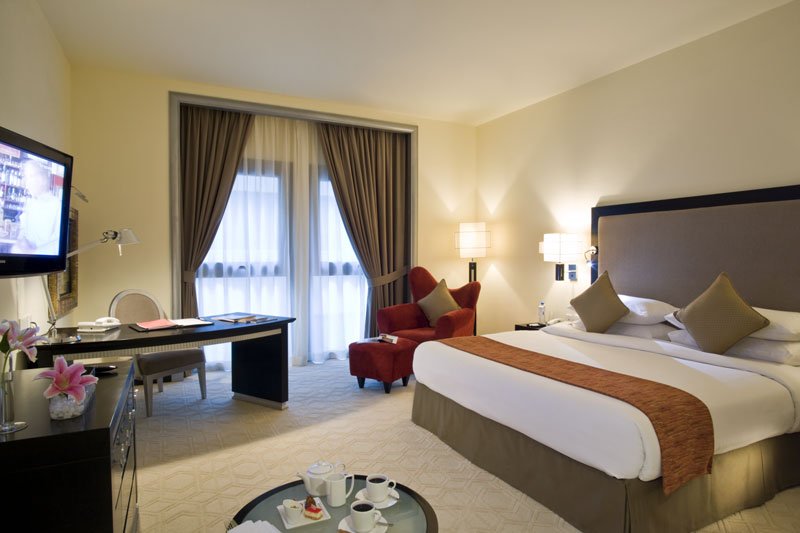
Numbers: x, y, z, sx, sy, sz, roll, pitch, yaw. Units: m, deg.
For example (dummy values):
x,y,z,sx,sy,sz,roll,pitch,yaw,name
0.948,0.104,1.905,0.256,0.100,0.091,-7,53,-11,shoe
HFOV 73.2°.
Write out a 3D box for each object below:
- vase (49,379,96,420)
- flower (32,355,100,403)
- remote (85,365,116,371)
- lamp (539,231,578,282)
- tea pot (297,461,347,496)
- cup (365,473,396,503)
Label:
x,y,z,sx,sy,sz,roll,pitch,yaw,name
-1.952,0.791,3.122,0.141,0.176,0.242,-10,-5,23,vase
-1.896,0.651,3.075,0.295,0.123,0.289,38,39,24,flower
-2.056,0.705,3.737,0.083,0.021,0.081,1,-1,1,remote
2.014,-0.110,6.553,0.481,0.786,0.489,4,4,40,lamp
-0.505,1.353,3.470,0.267,0.171,0.192,3,-4,-6,tea pot
-0.134,1.384,3.379,0.149,0.118,0.123,3,-6,-4,cup
